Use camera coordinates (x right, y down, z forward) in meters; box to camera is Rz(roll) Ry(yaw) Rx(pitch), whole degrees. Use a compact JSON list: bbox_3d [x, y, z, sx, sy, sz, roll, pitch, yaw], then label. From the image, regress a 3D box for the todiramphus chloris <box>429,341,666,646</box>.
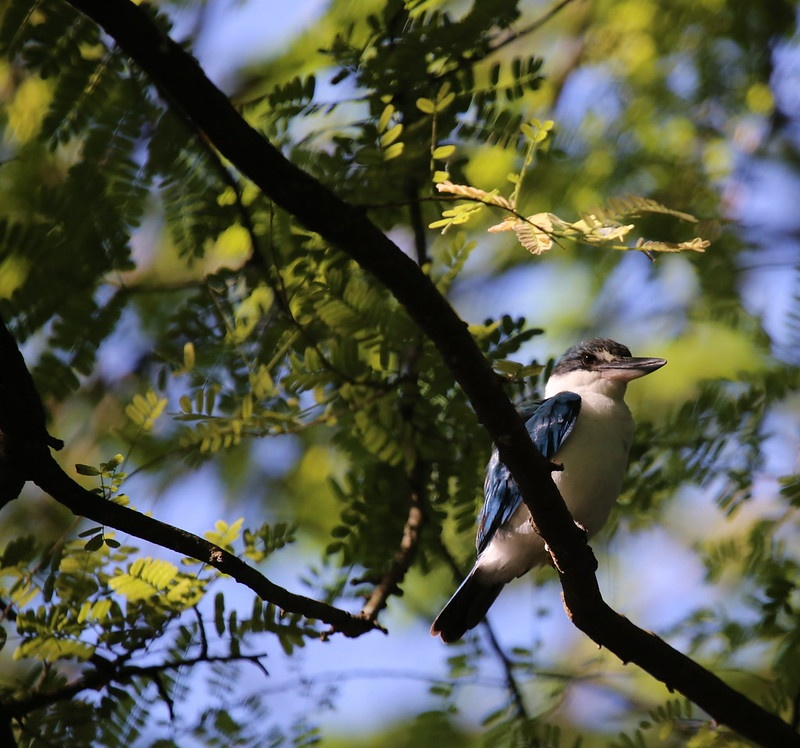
[{"bbox_3d":[0.548,0.403,5.231,0.988,0.946,0.500,-21,-40,20],"label":"todiramphus chloris"}]
